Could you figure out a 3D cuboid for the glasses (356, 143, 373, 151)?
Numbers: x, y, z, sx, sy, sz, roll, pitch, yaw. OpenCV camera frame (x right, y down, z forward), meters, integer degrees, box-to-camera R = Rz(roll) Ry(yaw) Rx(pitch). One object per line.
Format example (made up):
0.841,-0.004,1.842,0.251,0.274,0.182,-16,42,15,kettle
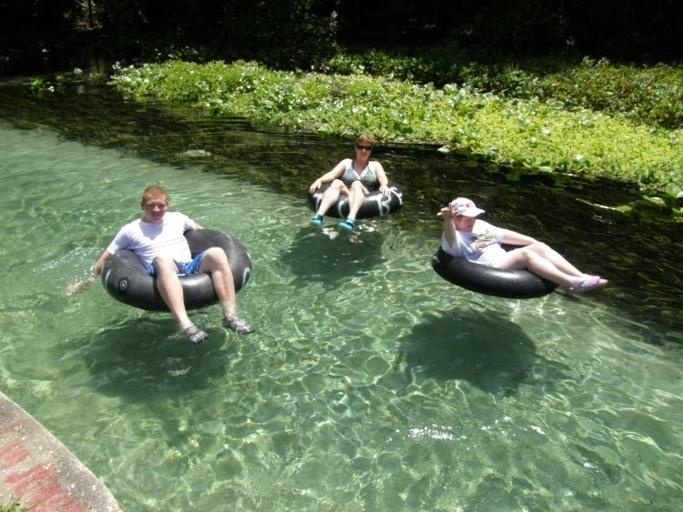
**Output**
0.340,-1.648,8.147,0.257,0.114,0.130,2,29,-7,glasses

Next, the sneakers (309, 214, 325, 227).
-0.350,-0.482,7.660,0.130,0.209,0.266,11,29,6,sneakers

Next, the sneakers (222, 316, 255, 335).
-1.132,0.771,5.847,0.326,0.234,0.180,27,36,34,sneakers

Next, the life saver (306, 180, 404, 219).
0.171,-0.760,8.430,1.660,0.307,1.507,-4,-3,22,life saver

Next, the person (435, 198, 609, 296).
2.084,-0.124,6.169,1.895,0.806,1.122,13,23,20,person

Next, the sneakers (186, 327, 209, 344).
-1.513,0.821,5.577,0.145,0.185,0.218,-21,39,-38,sneakers

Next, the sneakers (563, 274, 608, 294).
2.725,0.317,5.920,0.502,0.116,0.204,-5,37,29,sneakers
